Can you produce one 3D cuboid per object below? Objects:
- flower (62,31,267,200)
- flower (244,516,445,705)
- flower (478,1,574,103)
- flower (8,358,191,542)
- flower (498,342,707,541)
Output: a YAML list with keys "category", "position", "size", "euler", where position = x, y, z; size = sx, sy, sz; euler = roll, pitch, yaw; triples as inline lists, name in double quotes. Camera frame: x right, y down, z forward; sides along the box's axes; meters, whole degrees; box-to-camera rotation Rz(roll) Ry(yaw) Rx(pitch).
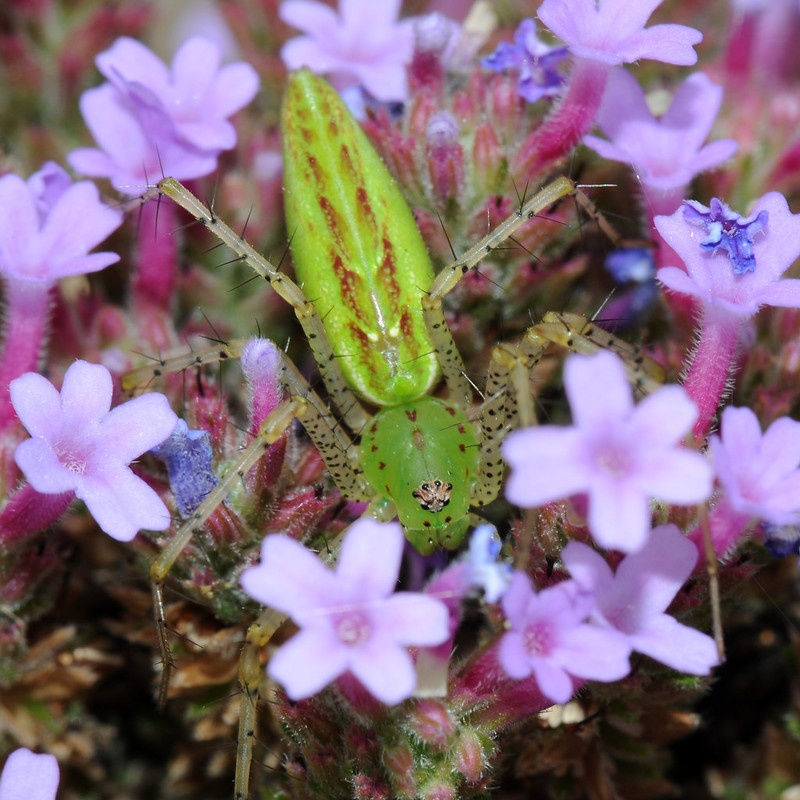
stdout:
- category: "flower"
  position: [-0.536, -0.675, 2.400]
  size: [0.350, 0.158, 0.410]
  euler: [-6, 87, -14]
- category: "flower"
  position: [-0.079, 0.325, 1.582]
  size: [0.296, 0.121, 0.276]
  euler: [-10, 76, 0]
- category: "flower"
  position: [0.295, -0.811, 2.408]
  size: [0.189, 0.191, 0.066]
  euler: [39, 60, 18]
- category: "flower"
  position: [-0.535, 0.058, 1.879]
  size: [0.362, 0.117, 0.242]
  euler: [37, 80, 9]
- category: "flower"
  position: [0.315, 0.071, 1.577]
  size: [0.286, 0.070, 0.288]
  euler: [31, 79, -11]
